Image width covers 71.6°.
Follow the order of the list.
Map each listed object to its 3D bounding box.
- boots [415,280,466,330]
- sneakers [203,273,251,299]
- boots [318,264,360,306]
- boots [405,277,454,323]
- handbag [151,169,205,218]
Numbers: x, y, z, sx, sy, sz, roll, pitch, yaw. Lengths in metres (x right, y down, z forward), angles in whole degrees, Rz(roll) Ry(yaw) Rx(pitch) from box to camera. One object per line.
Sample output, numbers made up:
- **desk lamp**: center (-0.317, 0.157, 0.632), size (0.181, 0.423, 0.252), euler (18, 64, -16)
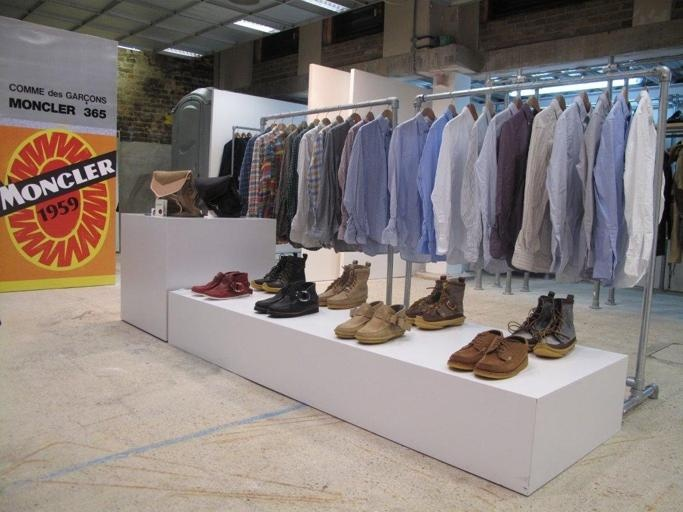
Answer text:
- **boots**: center (0.560, 0.302, 2.880), size (0.407, 0.346, 0.175), euler (-2, 3, -23)
- **sneakers**: center (-0.819, 0.208, 3.468), size (0.365, 0.169, 0.144), euler (-3, 4, -24)
- **boots**: center (0.051, 0.212, 3.246), size (0.141, 0.273, 0.373), euler (14, 15, 43)
- **boots**: center (0.601, 0.280, 2.850), size (0.349, 0.292, 0.146), euler (0, 5, -28)
- **handbag**: center (-1.402, -0.526, 3.986), size (0.429, 0.374, 0.300), euler (1, 9, -3)
